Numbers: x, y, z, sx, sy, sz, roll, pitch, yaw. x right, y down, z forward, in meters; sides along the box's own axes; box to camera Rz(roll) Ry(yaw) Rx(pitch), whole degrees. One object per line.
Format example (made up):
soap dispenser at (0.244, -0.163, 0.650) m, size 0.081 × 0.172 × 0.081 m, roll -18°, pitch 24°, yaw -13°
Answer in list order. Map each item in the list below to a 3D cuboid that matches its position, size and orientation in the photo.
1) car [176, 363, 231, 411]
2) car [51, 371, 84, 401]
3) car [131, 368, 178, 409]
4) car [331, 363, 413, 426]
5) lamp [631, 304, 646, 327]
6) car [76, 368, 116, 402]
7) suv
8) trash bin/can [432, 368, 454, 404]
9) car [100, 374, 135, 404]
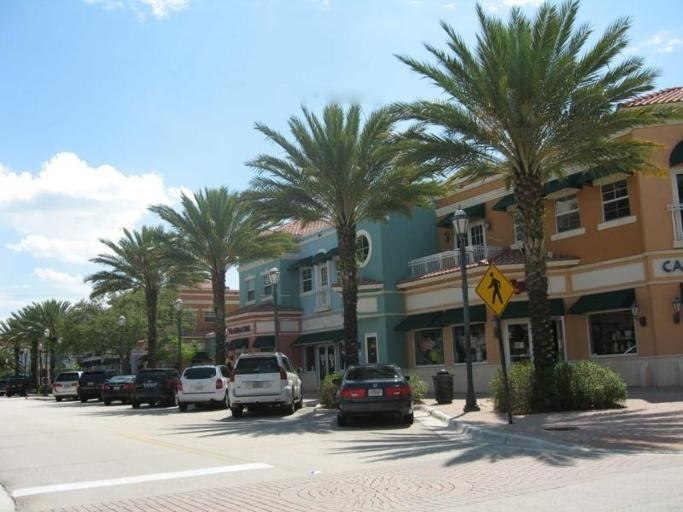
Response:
car at (-5.650, 5.408, 24.833) m, size 1.467 × 1.357 × 3.025 m, roll -1°, pitch -4°, yaw 2°
car at (-17.683, 8.505, 39.050) m, size 1.605 × 1.558 × 3.059 m, roll 0°, pitch -1°, yaw -8°
car at (-8.683, 6.177, 28.235) m, size 1.406 × 1.271 × 2.930 m, roll 0°, pitch -3°, yaw 1°
car at (0.912, 3.857, 16.782) m, size 2.064 × 1.633 × 1.027 m, roll -2°, pitch -14°, yaw 1°
lamp at (11.788, 2.361, 24.004) m, size 0.457 × 0.882 × 0.369 m, roll -15°, pitch -19°, yaw 42°
car at (-15.009, 7.905, 37.335) m, size 1.354 × 1.304 × 2.584 m, roll -1°, pitch -2°, yaw 6°
suv at (-2.520, 4.454, 21.884) m, size 1.424 × 1.474 × 3.089 m, roll -2°, pitch -4°, yaw 8°
trash bin/can at (3.715, 4.786, 22.064) m, size 0.635 × 1.266 × 1.069 m, roll -3°, pitch -15°, yaw 6°
car at (-11.986, 7.260, 32.659) m, size 1.558 × 1.425 × 0.630 m, roll -3°, pitch -14°, yaw 6°
